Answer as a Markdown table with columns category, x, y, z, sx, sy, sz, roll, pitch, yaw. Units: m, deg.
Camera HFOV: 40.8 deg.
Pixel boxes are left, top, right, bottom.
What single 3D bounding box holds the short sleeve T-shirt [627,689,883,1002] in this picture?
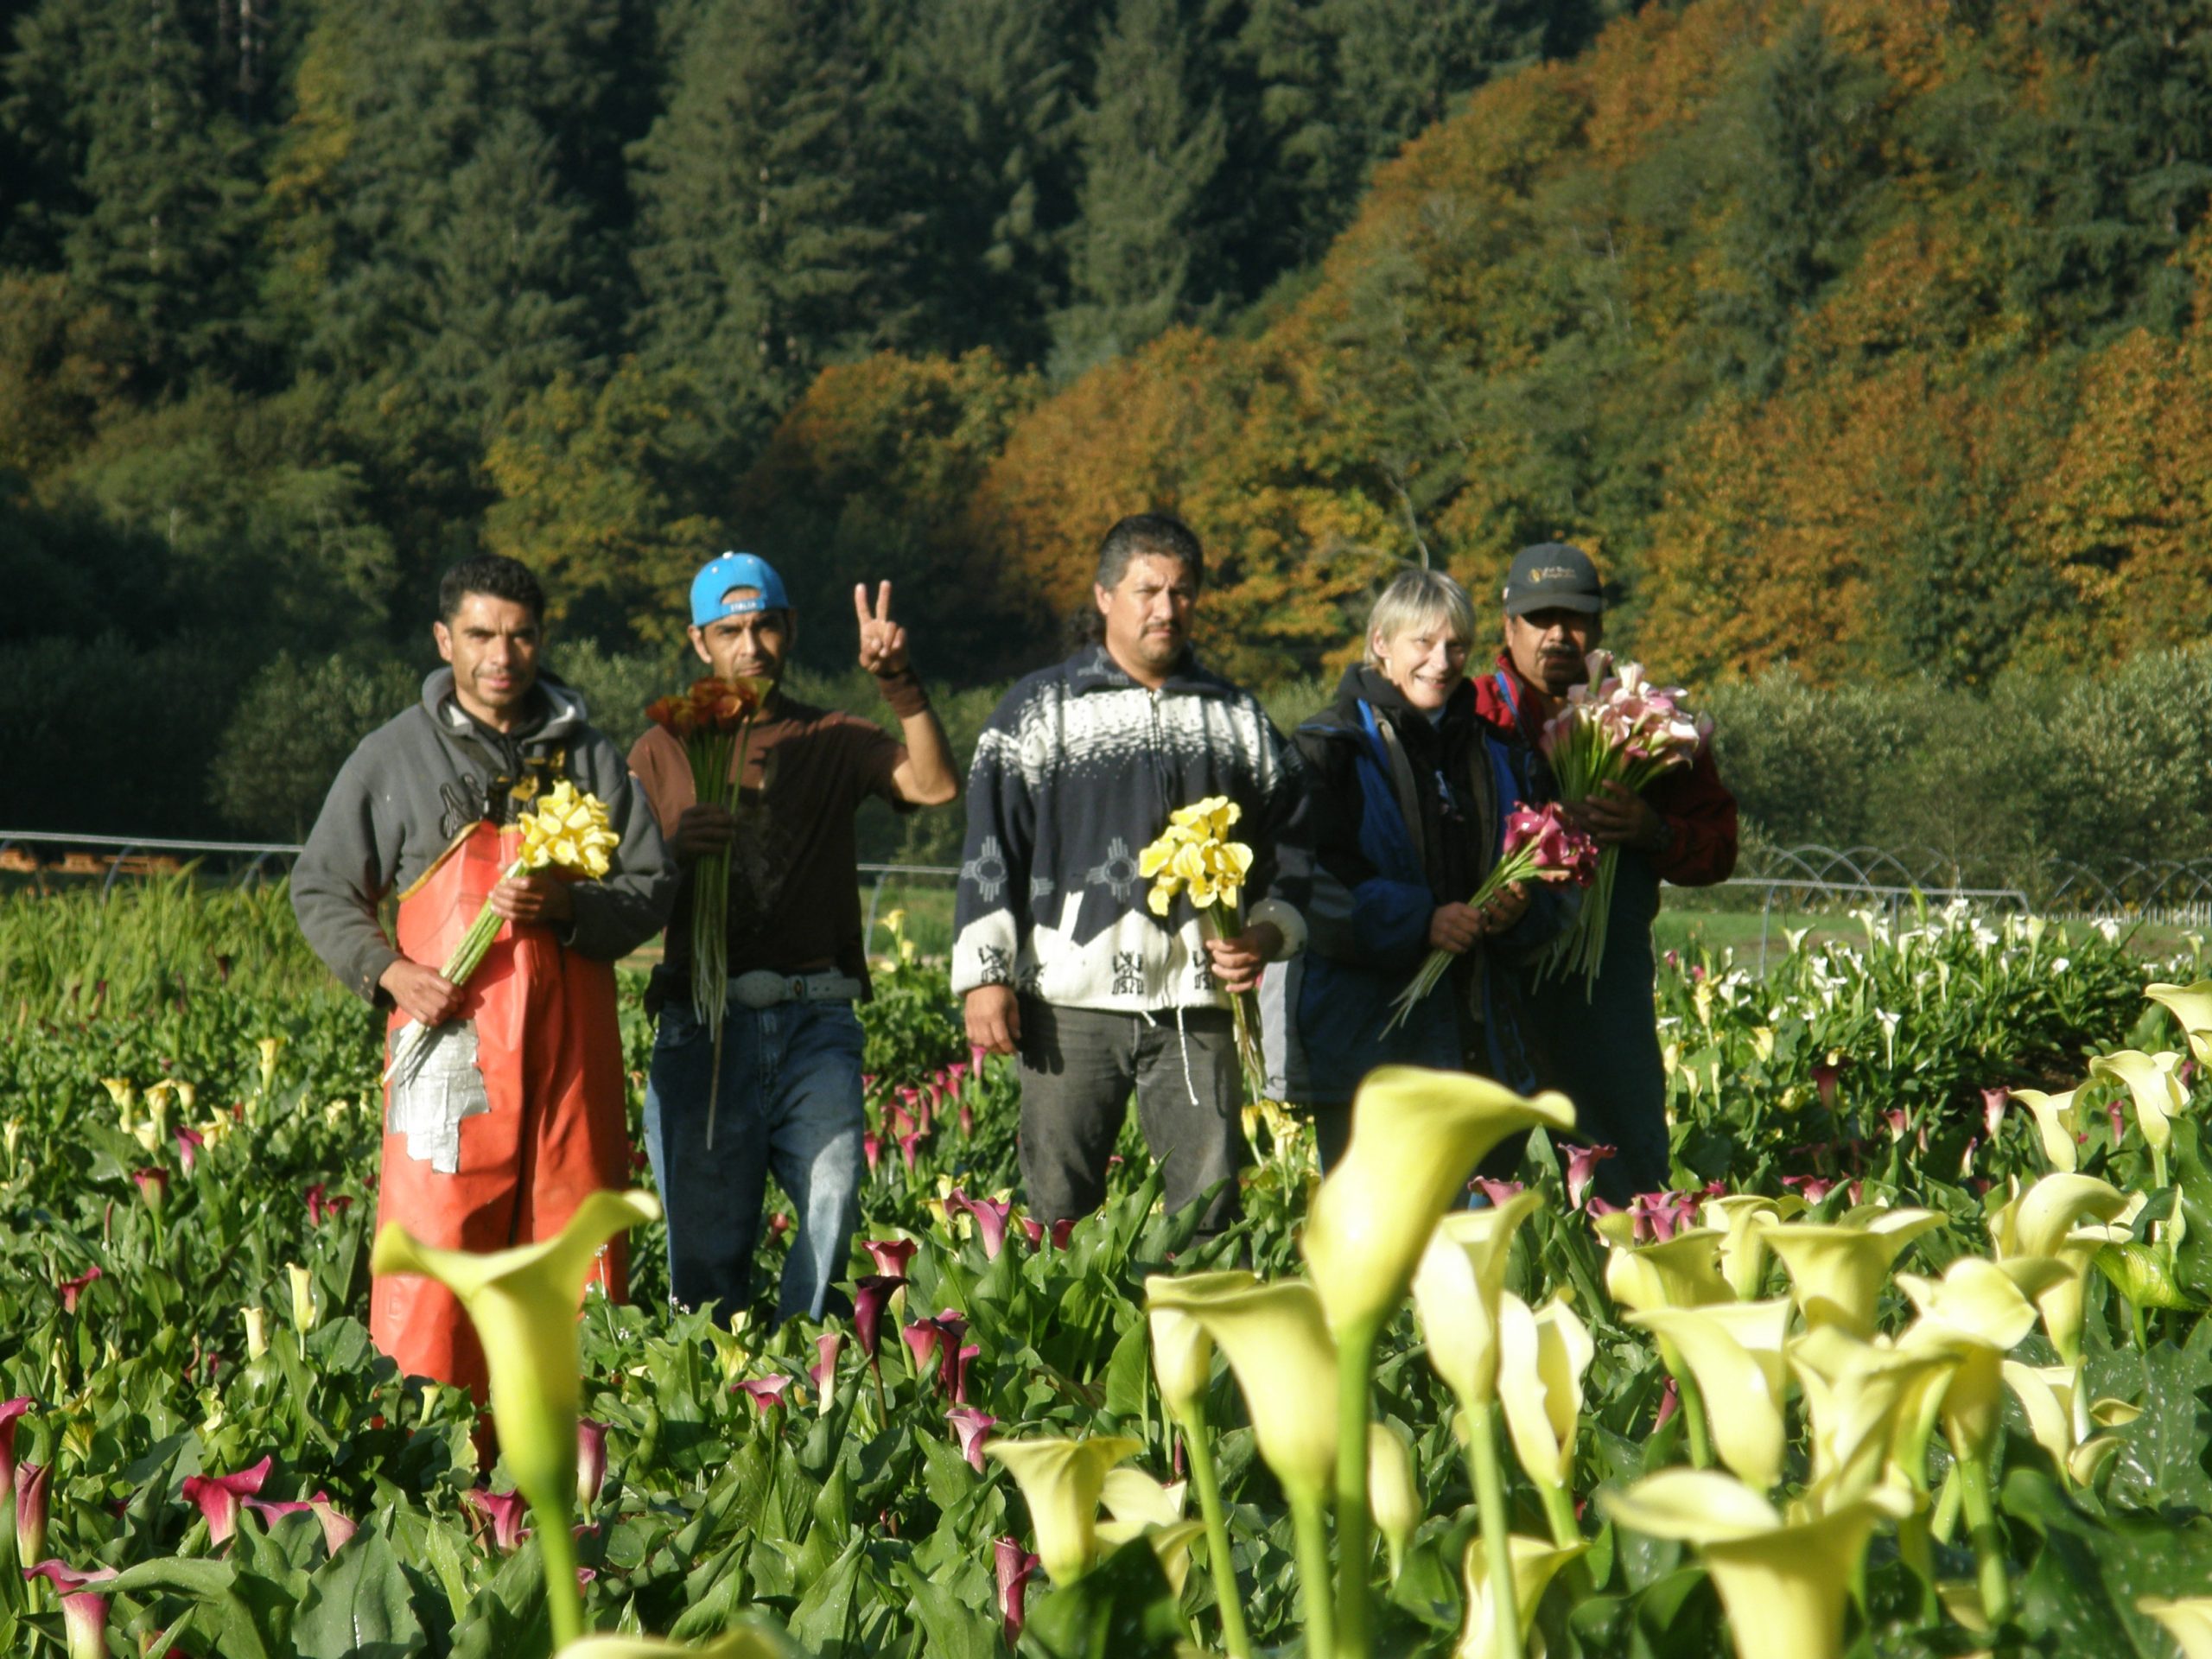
| category | x | y | z | sx | sy | sz | roll | pitch | yaw |
| --- | --- | --- | --- | --- | --- | --- | --- | --- | --- |
| short sleeve T-shirt | -2.056 | 0.141 | 17.691 | 1.547 | 1.889 | 0.890 | 3 | -3 | -29 |

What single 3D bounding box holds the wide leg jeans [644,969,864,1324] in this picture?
| category | x | y | z | sx | sy | sz | roll | pitch | yaw |
| --- | --- | --- | --- | --- | --- | --- | --- | --- | --- |
| wide leg jeans | -2.080 | 1.866 | 17.930 | 1.185 | 2.849 | 0.975 | -7 | 35 | -10 |

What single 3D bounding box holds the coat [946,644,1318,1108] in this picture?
| category | x | y | z | sx | sy | sz | roll | pitch | yaw |
| --- | --- | --- | --- | --- | --- | --- | --- | --- | --- |
| coat | -0.149 | 0.080 | 17.978 | 2.851 | 3.687 | 1.643 | 1 | -3 | -8 |
